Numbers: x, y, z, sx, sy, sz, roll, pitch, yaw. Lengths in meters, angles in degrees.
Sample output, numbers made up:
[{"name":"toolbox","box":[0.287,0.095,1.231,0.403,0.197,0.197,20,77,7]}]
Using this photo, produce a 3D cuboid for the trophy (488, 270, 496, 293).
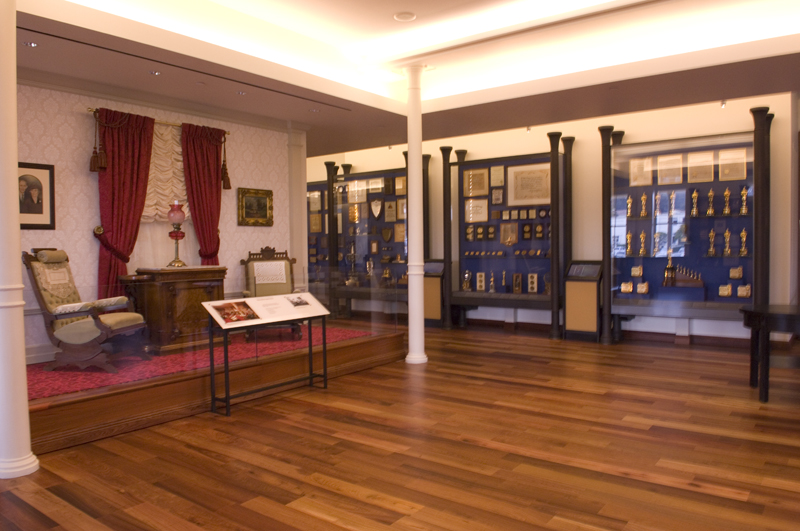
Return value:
[{"name":"trophy","box":[1.893,0.326,11.199,0.106,0.434,0.122,0,9,4]}]

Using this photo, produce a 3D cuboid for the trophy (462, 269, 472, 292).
[{"name":"trophy","box":[1.415,0.294,11.467,0.188,0.434,0.069,7,12,39]}]

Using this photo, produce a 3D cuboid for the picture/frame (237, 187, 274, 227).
[{"name":"picture/frame","box":[-2.604,-1.064,9.854,0.107,0.697,0.805,-1,-1,44]}]

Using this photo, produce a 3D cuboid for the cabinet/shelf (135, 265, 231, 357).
[{"name":"cabinet/shelf","box":[-2.842,0.499,7.020,0.871,1.028,1.054,7,3,36]}]
